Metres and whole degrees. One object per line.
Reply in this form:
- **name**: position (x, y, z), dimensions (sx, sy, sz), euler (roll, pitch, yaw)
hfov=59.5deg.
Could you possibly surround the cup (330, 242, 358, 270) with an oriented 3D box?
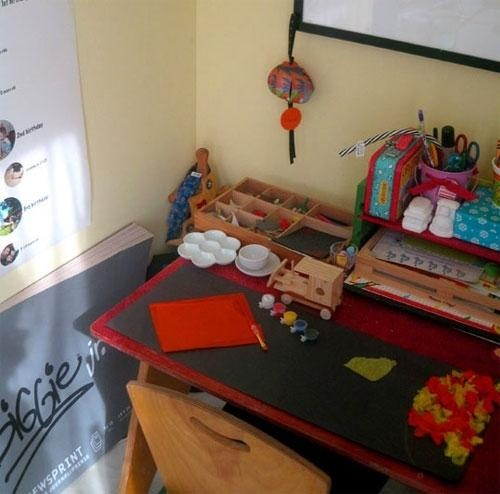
- **cup**: position (0.296, 0.031, 1.375), dimensions (0.065, 0.066, 0.087), euler (9, 25, 17)

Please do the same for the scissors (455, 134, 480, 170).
- **scissors**: position (0.603, -0.258, 1.216), dimensions (0.043, 0.119, 0.116), euler (-5, -1, 19)

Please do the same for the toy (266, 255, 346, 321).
- **toy**: position (0.148, 0.085, 1.305), dimensions (0.236, 0.161, 0.137), euler (22, 46, 22)

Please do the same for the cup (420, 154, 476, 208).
- **cup**: position (0.560, -0.201, 1.233), dimensions (0.125, 0.091, 0.126), euler (-2, 27, 1)
